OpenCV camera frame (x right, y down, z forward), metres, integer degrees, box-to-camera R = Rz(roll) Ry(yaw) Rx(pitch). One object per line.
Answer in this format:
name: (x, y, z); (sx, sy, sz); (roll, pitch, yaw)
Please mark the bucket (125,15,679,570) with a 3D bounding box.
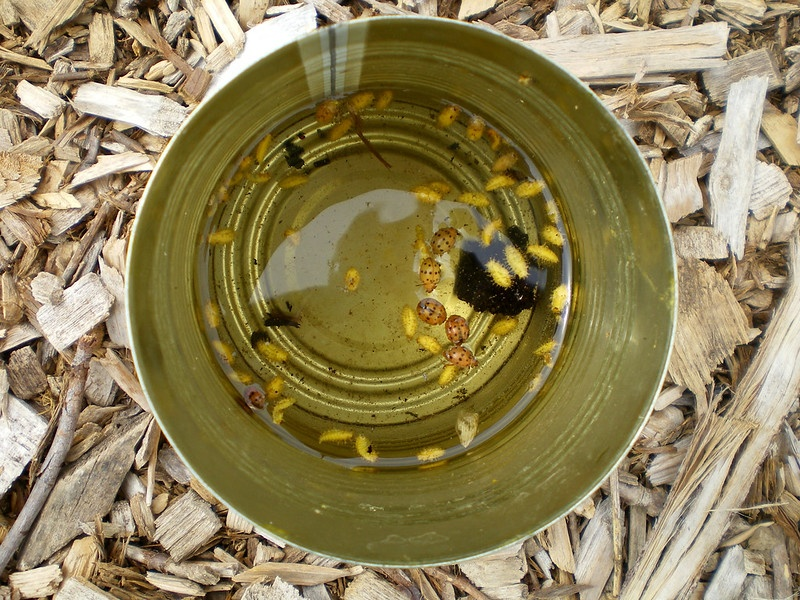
bucket: (0.005, 0.017, 2.324); (1.333, 0.617, 1.310); (0, 83, -2)
